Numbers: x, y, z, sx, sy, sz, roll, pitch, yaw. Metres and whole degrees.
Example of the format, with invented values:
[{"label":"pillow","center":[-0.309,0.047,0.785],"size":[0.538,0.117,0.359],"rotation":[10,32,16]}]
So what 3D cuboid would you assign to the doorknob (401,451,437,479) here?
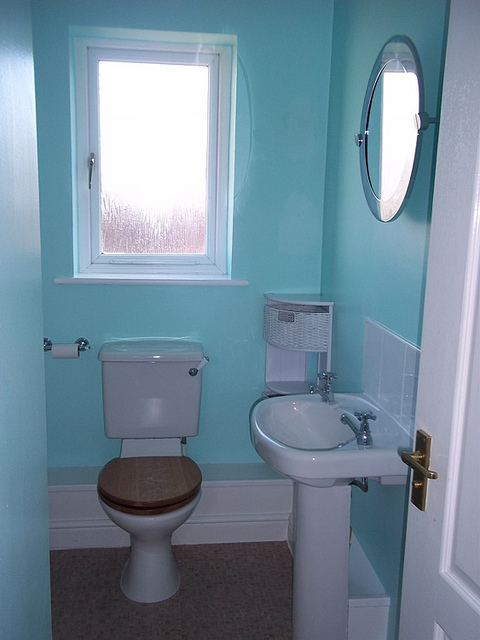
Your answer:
[{"label":"doorknob","center":[0.294,0.237,0.901],"size":[0.020,0.035,0.105],"rotation":[0,8,-8]}]

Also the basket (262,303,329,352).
[{"label":"basket","center":[0.216,0.018,2.195],"size":[0.307,0.182,0.148],"rotation":[5,8,23]}]

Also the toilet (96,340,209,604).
[{"label":"toilet","center":[-0.315,0.545,2.051],"size":[0.413,0.852,0.595],"rotation":[-1,8,-13]}]

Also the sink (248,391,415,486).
[{"label":"sink","center":[0.230,0.311,1.491],"size":[0.394,0.139,0.471],"rotation":[1,8,-6]}]
